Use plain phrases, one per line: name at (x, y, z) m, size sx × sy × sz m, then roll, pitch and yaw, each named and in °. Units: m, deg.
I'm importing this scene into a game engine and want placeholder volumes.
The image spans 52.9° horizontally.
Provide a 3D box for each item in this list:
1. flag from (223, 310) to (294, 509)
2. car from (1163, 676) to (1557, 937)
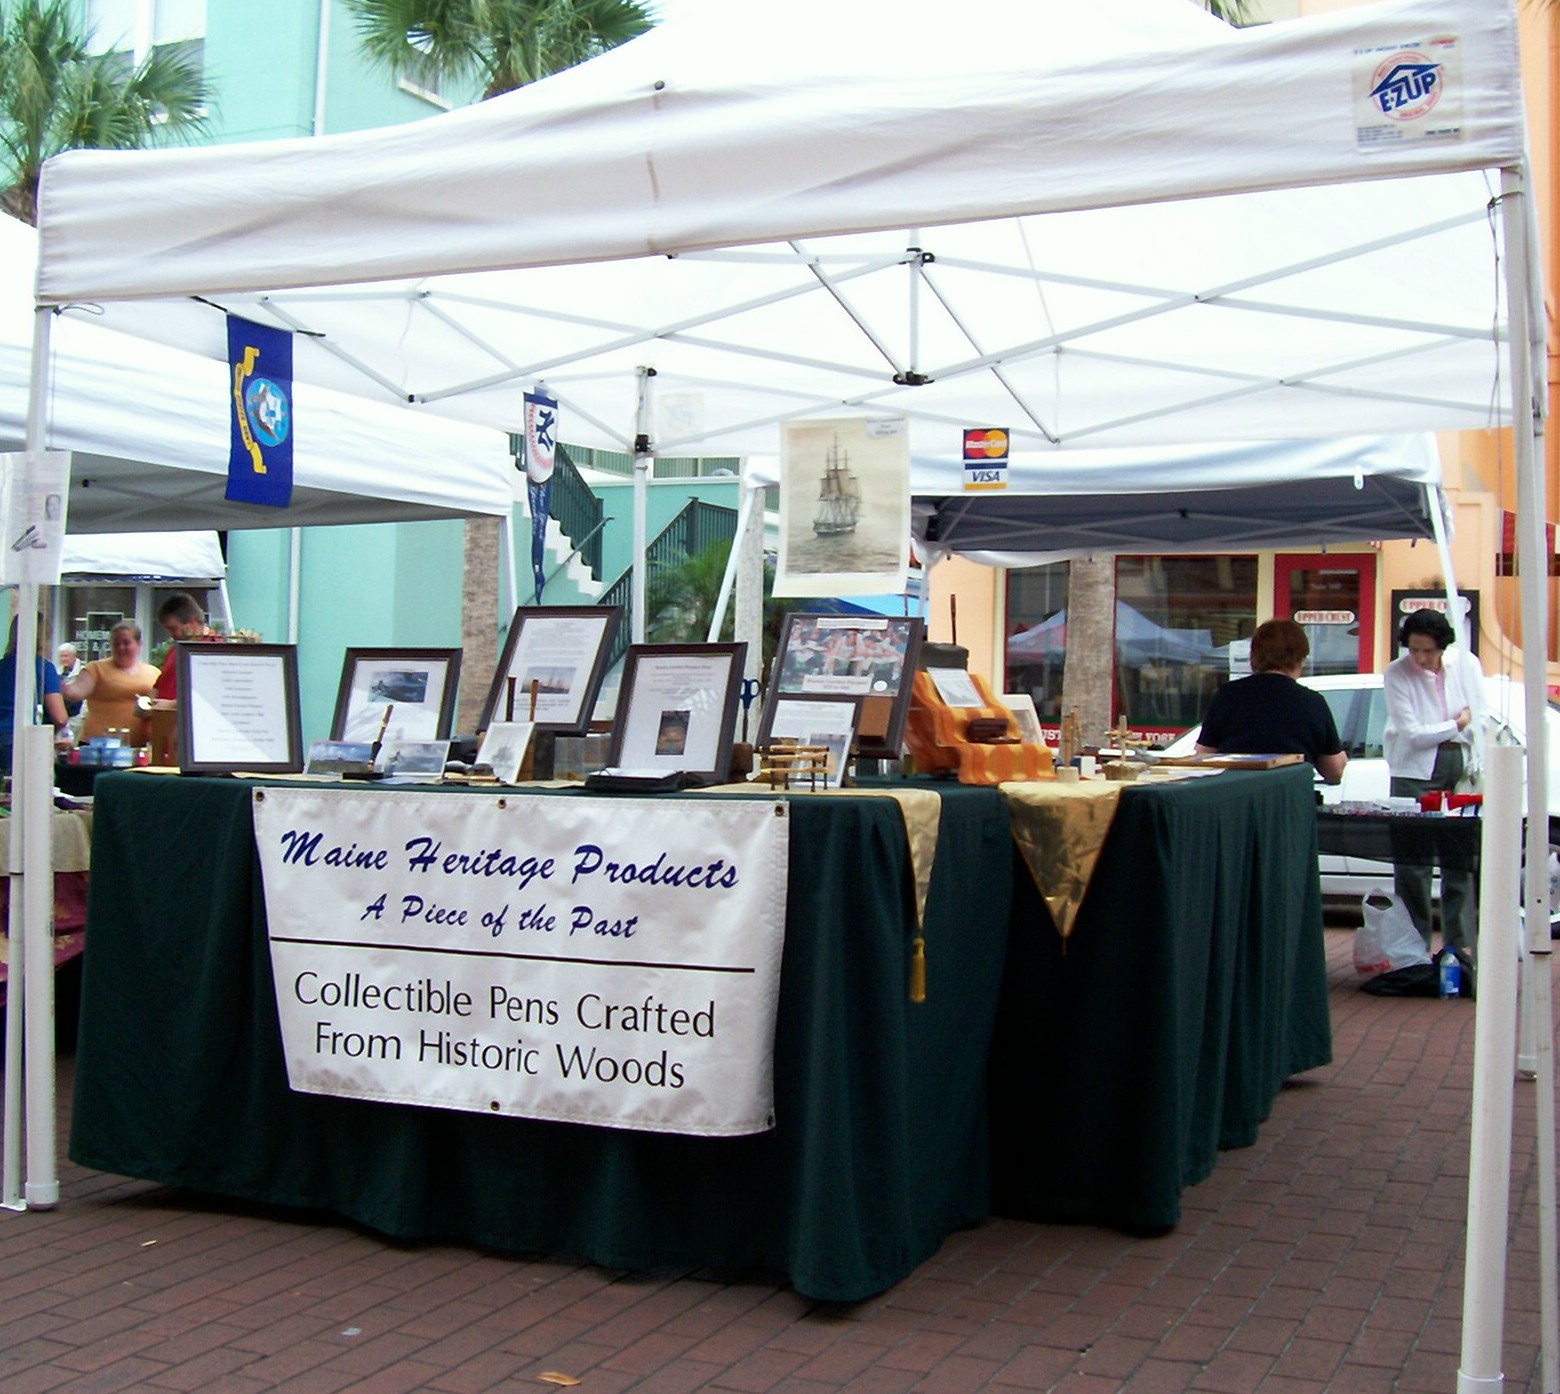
flag at (-1.823, -1.003, 5.526) m, size 0.010 × 0.666 × 0.356 m, roll 1°, pitch 2°, yaw 22°
car at (4.000, 0.611, 10.439) m, size 3.142 × 1.450 × 1.712 m, roll 2°, pitch -3°, yaw 8°
